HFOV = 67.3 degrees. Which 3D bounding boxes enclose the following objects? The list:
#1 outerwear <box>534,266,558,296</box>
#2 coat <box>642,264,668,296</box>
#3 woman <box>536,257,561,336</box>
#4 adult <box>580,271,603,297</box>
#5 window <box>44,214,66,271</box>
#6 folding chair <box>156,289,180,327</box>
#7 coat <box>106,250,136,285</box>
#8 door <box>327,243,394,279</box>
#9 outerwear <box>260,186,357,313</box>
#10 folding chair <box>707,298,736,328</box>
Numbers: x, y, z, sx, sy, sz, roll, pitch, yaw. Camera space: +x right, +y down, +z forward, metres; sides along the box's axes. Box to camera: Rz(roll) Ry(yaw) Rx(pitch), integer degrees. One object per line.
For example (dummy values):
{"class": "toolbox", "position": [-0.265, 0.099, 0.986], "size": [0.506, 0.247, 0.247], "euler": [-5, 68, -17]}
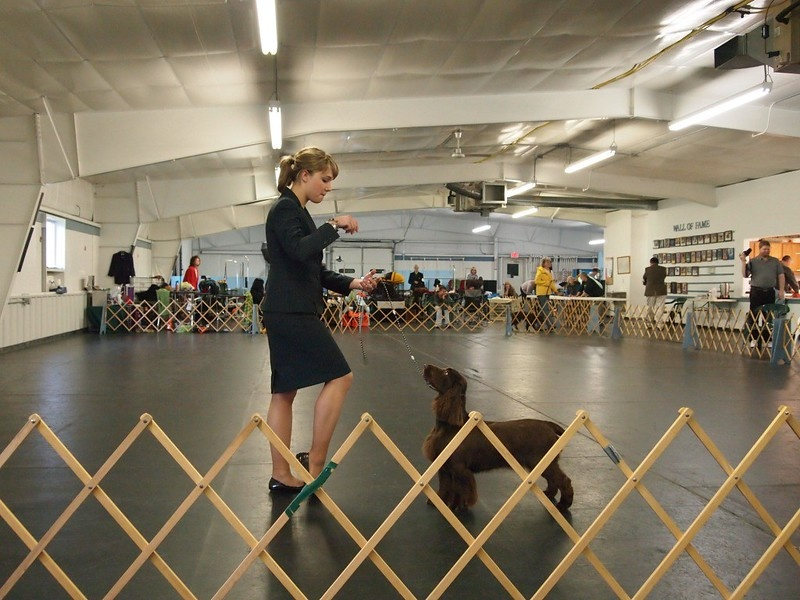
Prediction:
{"class": "outerwear", "position": [3.801, -0.438, 15.585], "size": [0.598, 1.079, 0.845], "euler": [-4, -1, 22]}
{"class": "coat", "position": [6.408, -0.477, 15.109], "size": [0.475, 0.823, 0.388], "euler": [0, 2, 20]}
{"class": "woman", "position": [3.709, -0.191, 15.310], "size": [0.477, 1.730, 0.522], "euler": [1, 4, 38]}
{"class": "adult", "position": [5.327, -0.424, 16.812], "size": [0.626, 0.876, 0.951], "euler": [-1, 0, 1]}
{"class": "window", "position": [-7.153, -1.158, 12.508], "size": [0.262, 1.102, 0.859], "euler": [-1, 2, -19]}
{"class": "folding chair", "position": [-5.870, 0.227, 15.263], "size": [0.406, 0.954, 1.002], "euler": [-1, 2, -6]}
{"class": "coat", "position": [-7.108, -0.809, 15.230], "size": [0.792, 1.093, 0.290], "euler": [0, -2, -27]}
{"class": "door", "position": [-1.691, -1.618, 24.311], "size": [2.776, 2.179, 0.241], "euler": [1, -3, -15]}
{"class": "outerwear", "position": [-0.593, -0.286, 3.554], "size": [0.419, 0.777, 0.370], "euler": [-1, 2, -15]}
{"class": "folding chair", "position": [8.253, 0.393, 15.447], "size": [0.464, 0.661, 1.043], "euler": [0, 2, 10]}
